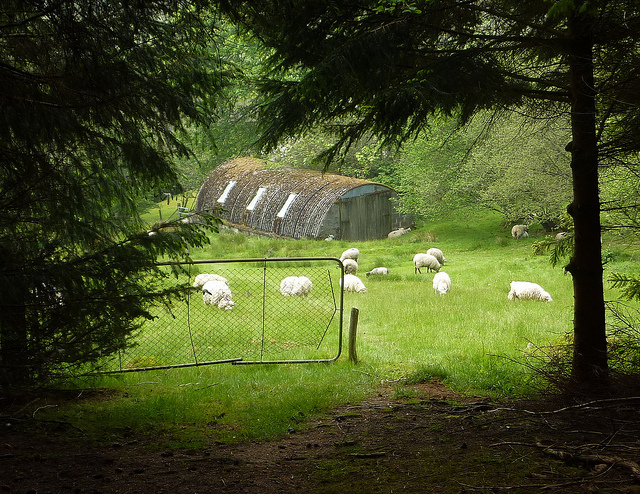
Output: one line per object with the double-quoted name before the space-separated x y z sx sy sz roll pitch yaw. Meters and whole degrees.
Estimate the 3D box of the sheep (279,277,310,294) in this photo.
"sheep" -0.709 1.032 19.050 0.629 0.266 0.474 -4 -4 14

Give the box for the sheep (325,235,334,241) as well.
"sheep" 0.411 -0.459 32.617 0.334 0.296 0.228 -14 29 3

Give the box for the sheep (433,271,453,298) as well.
"sheep" 3.254 0.995 18.933 0.438 0.471 0.967 -1 0 6

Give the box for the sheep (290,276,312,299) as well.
"sheep" -0.525 1.065 18.997 0.510 0.412 0.605 2 8 0

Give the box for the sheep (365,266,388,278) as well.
"sheep" 1.803 0.827 22.857 0.731 0.259 0.469 -1 0 1

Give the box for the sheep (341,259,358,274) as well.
"sheep" 0.976 0.648 23.437 0.416 0.380 0.856 -1 0 0

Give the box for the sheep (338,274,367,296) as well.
"sheep" 0.975 1.067 20.369 0.825 0.460 0.377 8 15 23

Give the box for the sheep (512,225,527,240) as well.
"sheep" 9.432 -0.729 33.563 0.614 0.456 0.550 -1 0 8

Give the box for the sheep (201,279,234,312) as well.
"sheep" -2.512 1.180 17.390 0.732 0.651 1.116 -1 0 -8

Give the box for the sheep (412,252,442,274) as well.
"sheep" 3.550 0.530 23.675 0.793 0.487 0.924 -1 0 3

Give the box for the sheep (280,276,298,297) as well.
"sheep" -0.905 1.054 19.033 0.415 0.434 0.496 -1 1 30

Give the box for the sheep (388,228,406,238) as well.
"sheep" 4.088 -0.757 37.794 0.454 0.193 0.767 3 17 29

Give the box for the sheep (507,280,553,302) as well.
"sheep" 5.396 1.054 17.906 1.148 0.561 0.398 12 34 20
